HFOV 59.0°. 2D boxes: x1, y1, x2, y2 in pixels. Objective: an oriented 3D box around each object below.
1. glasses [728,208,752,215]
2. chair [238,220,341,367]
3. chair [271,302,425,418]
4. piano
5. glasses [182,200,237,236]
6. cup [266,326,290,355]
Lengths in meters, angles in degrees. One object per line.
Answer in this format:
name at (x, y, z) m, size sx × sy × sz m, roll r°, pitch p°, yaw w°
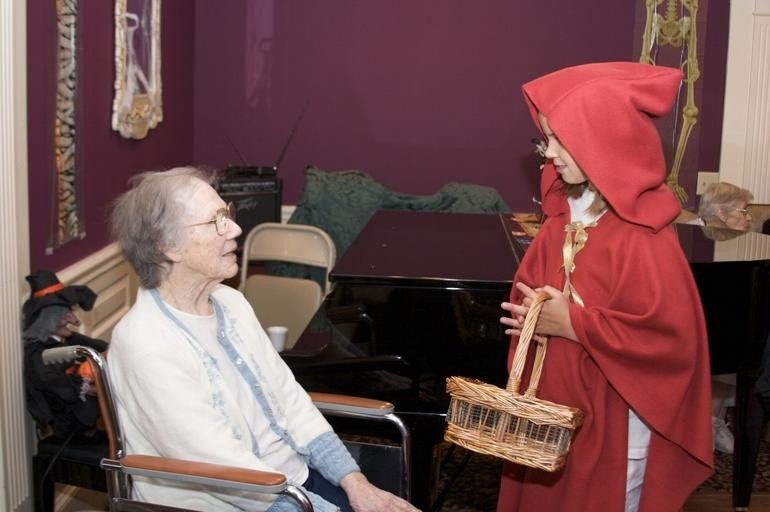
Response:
glasses at (2.343, -0.300, 4.532) m, size 0.142 × 0.047 × 0.139 m, roll 0°, pitch -1°, yaw 16°
chair at (-0.568, 0.138, 4.044) m, size 0.573 × 1.039 × 0.752 m, roll 5°, pitch 8°, yaw 6°
chair at (-0.141, 0.452, 3.195) m, size 0.557 × 0.624 × 0.471 m, roll 3°, pitch 2°, yaw 12°
piano at (0.704, 0.230, 3.413) m, size 1.797 × 1.000 × 1.742 m, roll 2°, pitch 9°, yaw 8°
glasses at (-0.641, -0.140, 2.531) m, size 0.140 × 0.056 × 0.110 m, roll -10°, pitch -1°, yaw 14°
cup at (-0.522, 0.410, 3.342) m, size 0.103 × 0.114 × 0.103 m, roll -1°, pitch -4°, yaw 0°
